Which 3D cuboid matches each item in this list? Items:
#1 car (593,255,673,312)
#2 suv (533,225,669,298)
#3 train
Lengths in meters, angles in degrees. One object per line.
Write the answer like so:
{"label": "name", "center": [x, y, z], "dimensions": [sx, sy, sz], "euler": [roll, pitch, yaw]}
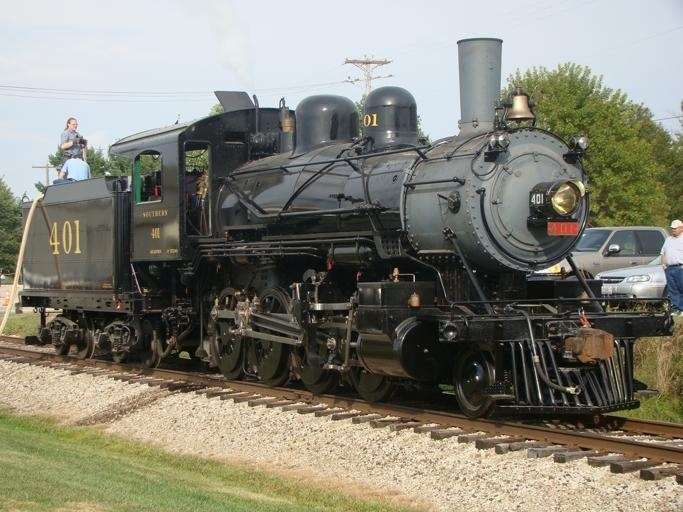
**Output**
{"label": "car", "center": [5.909, 0.514, 14.607], "dimensions": [2.498, 1.032, 1.405], "euler": [8, -11, -37]}
{"label": "suv", "center": [5.165, 0.148, 13.324], "dimensions": [3.028, 1.235, 1.642], "euler": [2, -3, -8]}
{"label": "train", "center": [-1.287, -0.309, 13.584], "dimensions": [4.803, 4.871, 13.933], "euler": [0, 0, -37]}
